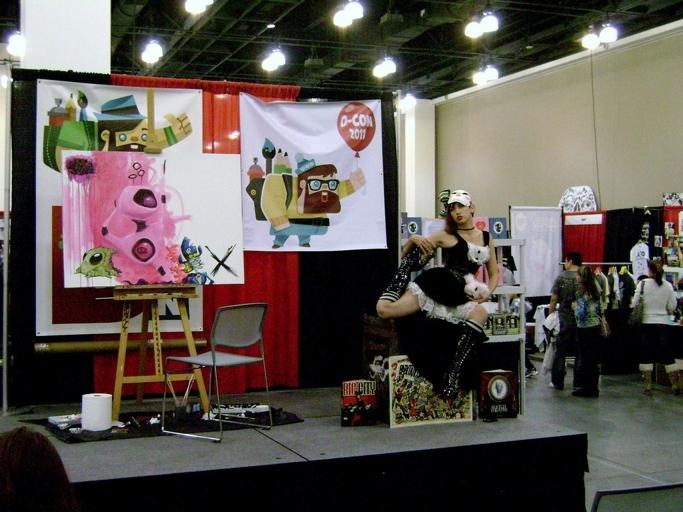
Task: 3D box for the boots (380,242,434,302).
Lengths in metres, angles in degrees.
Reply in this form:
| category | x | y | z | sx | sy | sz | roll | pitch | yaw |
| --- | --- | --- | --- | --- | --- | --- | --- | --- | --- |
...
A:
| category | x | y | z | sx | sy | sz | roll | pitch | yaw |
| --- | --- | --- | --- | --- | --- | --- | --- | --- | --- |
| boots | 0.588 | 0.134 | 5.401 | 0.207 | 0.493 | 0.139 | 35 | -3 | -41 |

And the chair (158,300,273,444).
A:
| category | x | y | z | sx | sy | sz | roll | pitch | yaw |
| --- | --- | --- | --- | --- | --- | --- | --- | --- | --- |
| chair | -1.079 | 0.940 | 4.658 | 0.863 | 1.285 | 0.706 | 11 | -16 | -41 |

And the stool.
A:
| category | x | y | z | sx | sy | sz | roll | pitch | yaw |
| --- | --- | --- | --- | --- | --- | --- | --- | --- | --- |
| stool | -1.712 | 0.729 | 5.383 | 0.762 | 1.199 | 0.747 | 26 | 28 | 37 |

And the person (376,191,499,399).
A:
| category | x | y | z | sx | sy | sz | roll | pitch | yaw |
| --- | --- | --- | --- | --- | --- | --- | --- | --- | --- |
| person | 0.829 | 0.324 | 5.204 | 1.024 | 1.729 | 0.449 | -1 | 0 | 6 |

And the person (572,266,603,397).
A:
| category | x | y | z | sx | sy | sz | roll | pitch | yaw |
| --- | --- | --- | --- | --- | --- | --- | --- | --- | --- |
| person | 2.985 | 0.917 | 7.477 | 0.327 | 1.590 | 0.249 | -1 | 0 | 22 |

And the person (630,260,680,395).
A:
| category | x | y | z | sx | sy | sz | roll | pitch | yaw |
| --- | --- | --- | --- | --- | --- | --- | --- | --- | --- |
| person | 4.036 | 0.897 | 7.804 | 0.563 | 1.694 | 0.294 | -1 | 0 | -7 |

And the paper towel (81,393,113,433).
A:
| category | x | y | z | sx | sy | sz | roll | pitch | yaw |
| --- | --- | --- | --- | --- | --- | --- | --- | --- | --- |
| paper towel | -1.911 | 1.202 | 4.818 | 0.243 | 0.300 | 0.249 | 0 | 2 | -30 |

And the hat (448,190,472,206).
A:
| category | x | y | z | sx | sy | sz | roll | pitch | yaw |
| --- | --- | --- | --- | --- | --- | --- | --- | --- | --- |
| hat | 1.018 | -0.530 | 5.256 | 0.147 | 0.121 | 0.231 | -2 | -3 | 18 |

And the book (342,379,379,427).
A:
| category | x | y | z | sx | sy | sz | roll | pitch | yaw |
| --- | --- | --- | --- | --- | --- | --- | --- | --- | --- |
| book | 0.150 | 1.223 | 5.042 | 0.293 | 0.387 | 0.117 | 1 | -9 | -15 |

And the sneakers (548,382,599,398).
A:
| category | x | y | z | sx | sy | sz | roll | pitch | yaw |
| --- | --- | --- | --- | --- | --- | --- | --- | --- | --- |
| sneakers | 2.910 | 1.680 | 7.693 | 0.170 | 0.236 | 0.496 | 4 | 0 | -45 |
